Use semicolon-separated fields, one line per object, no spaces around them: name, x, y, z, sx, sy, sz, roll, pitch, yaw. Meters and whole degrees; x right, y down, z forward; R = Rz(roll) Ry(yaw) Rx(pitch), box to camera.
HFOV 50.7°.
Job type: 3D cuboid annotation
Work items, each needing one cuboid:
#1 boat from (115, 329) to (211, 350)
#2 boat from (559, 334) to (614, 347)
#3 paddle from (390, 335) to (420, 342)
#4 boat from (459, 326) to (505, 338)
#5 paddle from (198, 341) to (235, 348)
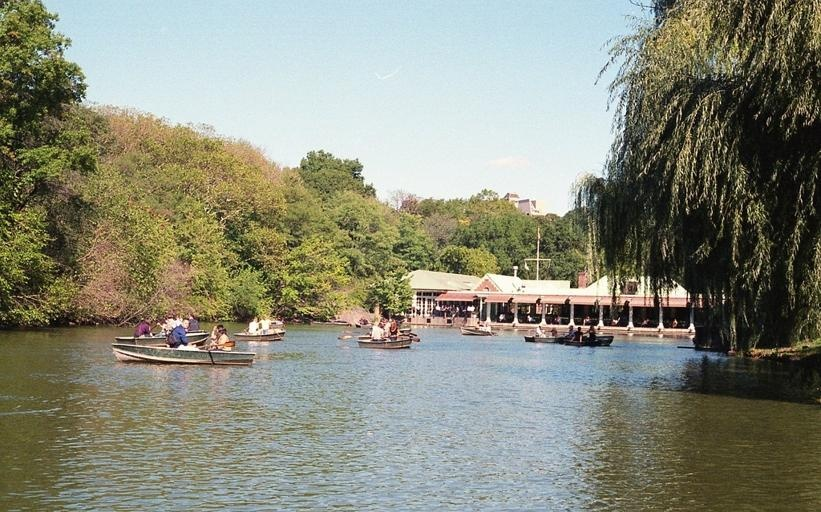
boat;-16.450;5.616;58.231;7.559;1.310;1.727;0;6;-34
boat;16.317;8.003;81.080;1.709;1.120;5.055;2;-4;-40
paddle;-0.596;6.895;72.983;0.892;0.323;1.554;-1;-1;44
boat;7.438;8.458;96.627;3.852;0.987;1.551;5;-3;5
paddle;-12.772;5.810;57.168;1.177;0.456;0.983;-9;-7;19
